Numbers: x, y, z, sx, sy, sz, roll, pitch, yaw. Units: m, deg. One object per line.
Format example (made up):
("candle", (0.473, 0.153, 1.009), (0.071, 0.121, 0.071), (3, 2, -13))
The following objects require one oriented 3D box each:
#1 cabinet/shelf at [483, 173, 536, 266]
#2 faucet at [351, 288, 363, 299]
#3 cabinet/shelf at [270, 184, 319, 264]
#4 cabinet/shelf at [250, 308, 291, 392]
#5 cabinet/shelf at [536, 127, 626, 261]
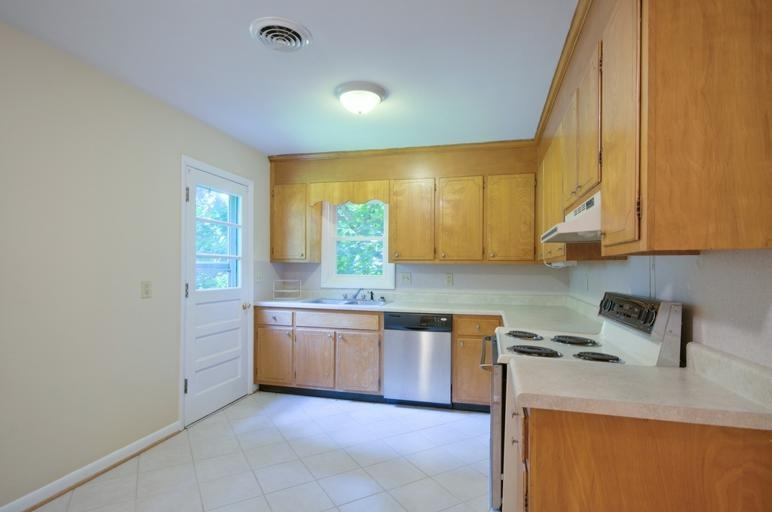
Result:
("cabinet/shelf", (1.172, -0.364, 4.812), (0.438, 0.798, 0.247), (1, 10, 3))
("faucet", (-0.314, 0.398, 5.356), (0.160, 0.064, 0.060), (-34, -13, 38))
("cabinet/shelf", (-1.007, -0.355, 5.309), (0.453, 0.786, 0.234), (0, 10, 0))
("cabinet/shelf", (-1.121, 0.883, 4.980), (0.436, 0.707, 0.131), (2, 10, 13))
("cabinet/shelf", (1.221, -0.383, 3.148), (0.404, 0.961, 1.058), (3, -4, 10))
